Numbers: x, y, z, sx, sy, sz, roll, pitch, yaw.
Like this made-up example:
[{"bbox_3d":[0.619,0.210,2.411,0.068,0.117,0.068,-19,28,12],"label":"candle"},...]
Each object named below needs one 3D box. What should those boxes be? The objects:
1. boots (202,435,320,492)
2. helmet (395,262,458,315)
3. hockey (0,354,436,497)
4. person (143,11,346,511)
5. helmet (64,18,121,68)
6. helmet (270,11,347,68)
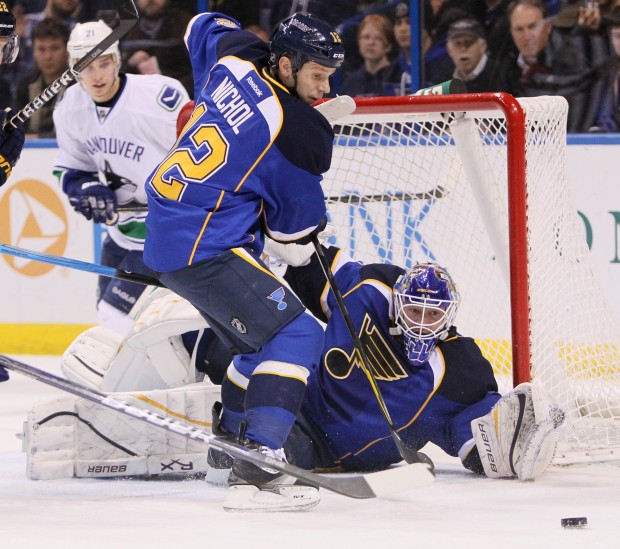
[{"bbox_3d":[-0.121,0.591,3.331,0.464,0.192,0.154,-1,-6,0],"label":"boots"},{"bbox_3d":[0.393,0.052,3.621,0.159,0.187,0.167,4,-1,6],"label":"helmet"},{"bbox_3d":[-0.254,0.517,3.542,0.909,0.061,0.254,14,-27,6],"label":"hockey"},{"bbox_3d":[-0.217,-0.131,3.265,0.578,1.349,0.288,2,2,-5],"label":"person"},{"bbox_3d":[-0.947,-1.009,4.622,0.179,0.220,0.246,2,2,-14],"label":"helmet"},{"bbox_3d":[-0.008,-0.688,3.294,0.234,0.212,0.194,11,18,15],"label":"helmet"}]
